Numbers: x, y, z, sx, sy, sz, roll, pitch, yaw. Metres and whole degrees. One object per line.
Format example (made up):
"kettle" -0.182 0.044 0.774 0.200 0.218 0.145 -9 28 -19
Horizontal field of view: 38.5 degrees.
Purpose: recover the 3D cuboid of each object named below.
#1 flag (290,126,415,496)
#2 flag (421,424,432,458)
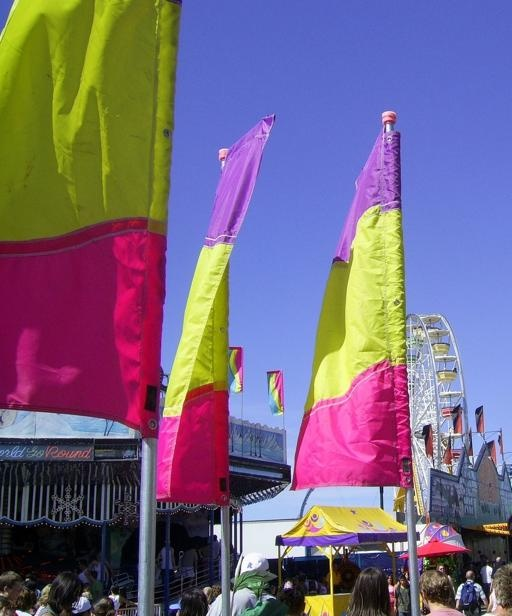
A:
"flag" 0.997 -0.077 7.561 1.191 3.827 0.686 -10 -17 30
"flag" 8.441 6.397 35.949 0.379 1.522 1.862 -4 -16 11
